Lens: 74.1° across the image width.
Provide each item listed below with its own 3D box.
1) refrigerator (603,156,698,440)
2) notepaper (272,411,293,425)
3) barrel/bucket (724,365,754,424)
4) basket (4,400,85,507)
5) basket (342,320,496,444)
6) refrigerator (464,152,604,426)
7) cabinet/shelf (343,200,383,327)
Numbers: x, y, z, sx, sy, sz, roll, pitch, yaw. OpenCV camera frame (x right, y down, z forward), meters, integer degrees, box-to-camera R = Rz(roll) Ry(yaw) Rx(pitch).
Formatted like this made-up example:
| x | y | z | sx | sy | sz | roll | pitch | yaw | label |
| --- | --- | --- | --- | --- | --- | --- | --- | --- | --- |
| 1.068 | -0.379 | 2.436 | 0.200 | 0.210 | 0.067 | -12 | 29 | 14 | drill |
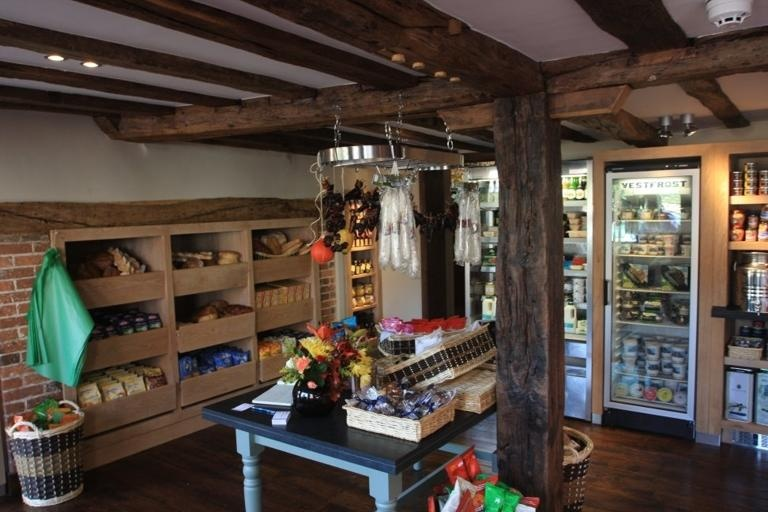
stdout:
| x | y | z | sx | sy | sz | roll | pitch | yaw | label |
| --- | --- | --- | --- | --- | --- | --- | --- | --- | --- |
| 2.582 | 0.388 | 4.935 | 0.836 | 2.629 | 0.449 | 0 | 5 | 27 | refrigerator |
| -0.652 | 1.026 | 3.197 | 0.077 | 0.020 | 0.098 | 1 | 7 | 8 | notepaper |
| 3.154 | 1.277 | 4.684 | 0.369 | 0.444 | 0.340 | 11 | -14 | 3 | barrel/bucket |
| -2.682 | 1.585 | 4.070 | 0.501 | 0.762 | 0.325 | -5 | 5 | -32 | basket |
| 0.292 | 0.764 | 3.288 | 0.573 | 0.271 | 0.882 | 3 | 14 | 29 | basket |
| 1.634 | 0.334 | 5.490 | 1.281 | 2.682 | 0.717 | 1 | 6 | 41 | refrigerator |
| -0.311 | 0.293 | 6.752 | 0.163 | 1.066 | 0.285 | -14 | 12 | 24 | cabinet/shelf |
